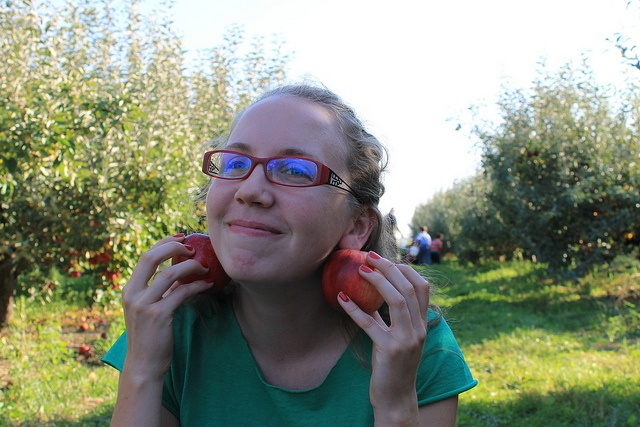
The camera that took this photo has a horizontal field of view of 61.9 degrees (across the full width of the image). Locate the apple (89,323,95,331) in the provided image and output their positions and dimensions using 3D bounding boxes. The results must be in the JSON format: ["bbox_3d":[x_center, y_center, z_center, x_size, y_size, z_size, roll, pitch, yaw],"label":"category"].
[{"bbox_3d":[-3.842,1.911,8.997,0.111,0.125,0.064,6,-11,-25],"label":"apple"}]

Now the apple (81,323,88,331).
[{"bbox_3d":[-3.875,1.864,8.852,0.137,0.142,0.144,-8,-12,29],"label":"apple"}]
